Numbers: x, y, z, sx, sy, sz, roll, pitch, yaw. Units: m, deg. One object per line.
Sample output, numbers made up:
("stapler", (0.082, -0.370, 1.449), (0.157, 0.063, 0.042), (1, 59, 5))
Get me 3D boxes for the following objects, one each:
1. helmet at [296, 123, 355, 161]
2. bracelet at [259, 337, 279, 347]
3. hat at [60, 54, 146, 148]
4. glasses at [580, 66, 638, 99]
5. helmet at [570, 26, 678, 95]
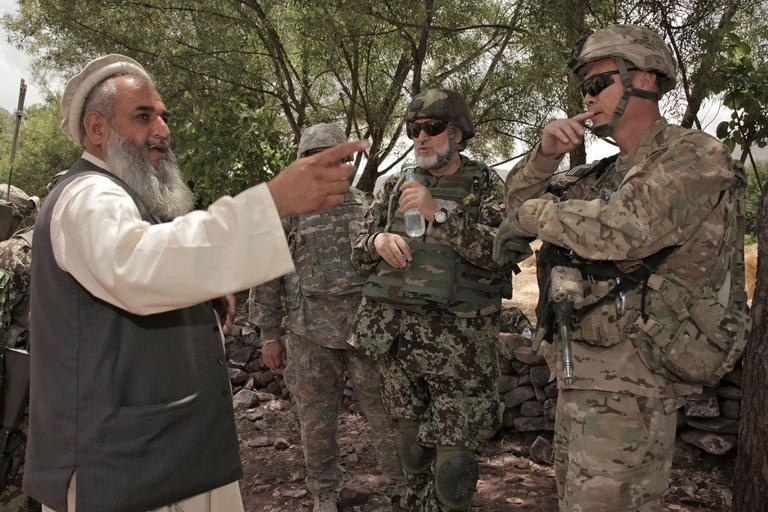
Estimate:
("helmet", (-0.518, -0.972, 5.801), (0.469, 0.351, 0.678), (-9, 8, 1))
("bracelet", (-1.029, 0.809, 6.042), (0.098, 0.042, 0.083), (-22, 8, -40))
("hat", (-1.551, -0.885, 3.603), (0.144, 0.478, 0.473), (25, 15, 32))
("glasses", (1.394, -1.105, 4.102), (0.205, 0.065, 0.203), (-17, 3, -18))
("helmet", (1.516, -1.218, 4.194), (0.547, 0.338, 0.415), (1, 4, 0))
